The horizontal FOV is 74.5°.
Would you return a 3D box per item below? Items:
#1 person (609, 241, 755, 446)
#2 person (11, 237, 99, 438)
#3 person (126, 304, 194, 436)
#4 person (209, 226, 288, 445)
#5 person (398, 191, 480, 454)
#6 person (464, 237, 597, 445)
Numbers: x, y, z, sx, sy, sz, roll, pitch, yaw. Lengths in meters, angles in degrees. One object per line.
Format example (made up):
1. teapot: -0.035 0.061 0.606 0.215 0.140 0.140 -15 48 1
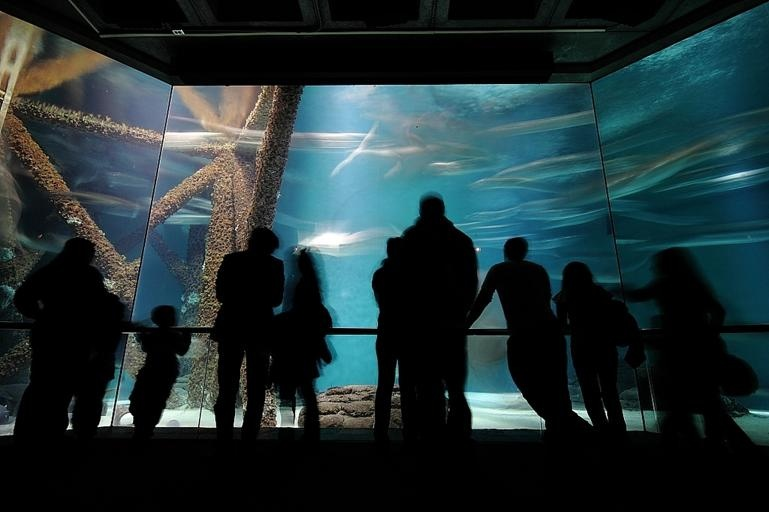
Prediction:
1. person: 2.778 0.798 4.583 0.740 1.763 0.499 -13 -23 27
2. person: -2.885 0.756 4.432 0.675 1.629 0.417 4 -22 -15
3. person: -2.002 1.020 4.549 0.444 1.152 0.343 7 -22 -21
4. person: -1.194 0.652 4.494 0.608 1.877 0.432 0 -21 -5
5. person: 0.508 0.671 4.411 0.664 1.797 0.429 -2 -21 0
6. person: 1.224 0.812 4.421 0.902 1.518 0.469 -5 -21 10
